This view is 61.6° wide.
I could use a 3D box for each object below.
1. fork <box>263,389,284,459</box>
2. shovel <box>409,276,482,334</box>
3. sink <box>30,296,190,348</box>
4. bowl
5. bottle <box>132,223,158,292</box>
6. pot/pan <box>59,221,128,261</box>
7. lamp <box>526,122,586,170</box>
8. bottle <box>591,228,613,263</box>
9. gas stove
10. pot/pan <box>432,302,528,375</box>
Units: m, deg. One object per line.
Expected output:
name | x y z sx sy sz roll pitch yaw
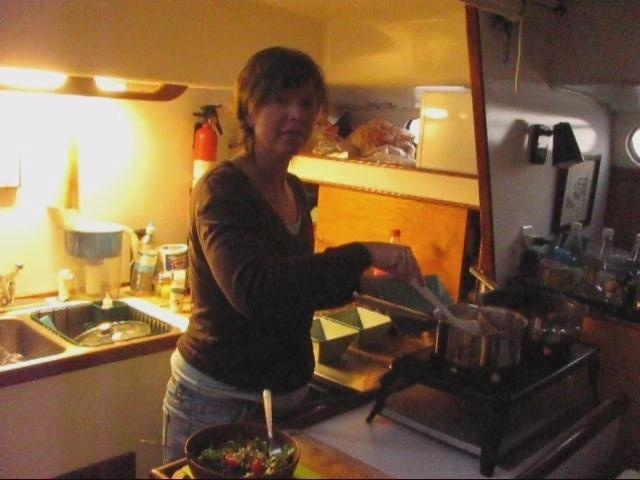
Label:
fork | -0.119 0.436 1.271 0.034 0.205 0.029 -11 -4 23
shovel | 0.336 0.185 1.468 0.051 0.043 0.276 -3 24 -39
sink | -0.933 0.324 2.360 0.331 0.120 0.272 20 9 38
bowl | -0.174 0.481 1.192 0.250 0.081 0.153 0 7 2
bottle | -0.861 0.095 2.635 0.106 0.345 0.156 -7 9 -43
pot/pan | -1.089 0.014 2.522 0.294 0.165 0.319 -4 -4 41
lamp | 0.921 -0.367 2.140 0.135 0.208 0.208 -1 -2 -34
bottle | 1.077 0.023 2.039 0.066 0.124 0.041 3 8 29
gas stove | 0.460 0.359 1.494 0.499 0.154 0.360 -12 22 -42
pot/pan | 0.433 0.252 1.479 0.207 0.136 0.162 -7 14 -4
